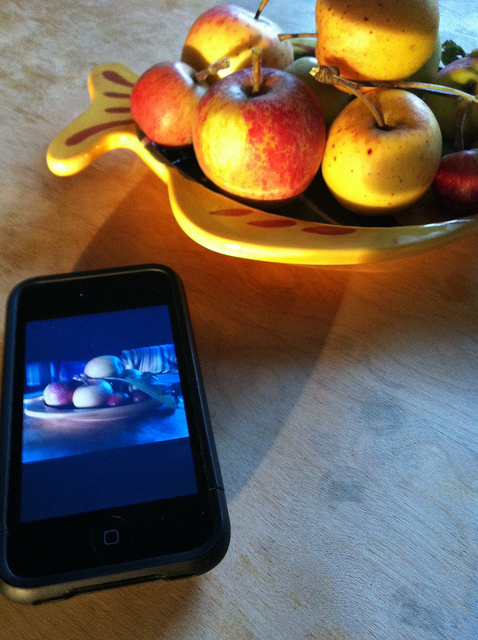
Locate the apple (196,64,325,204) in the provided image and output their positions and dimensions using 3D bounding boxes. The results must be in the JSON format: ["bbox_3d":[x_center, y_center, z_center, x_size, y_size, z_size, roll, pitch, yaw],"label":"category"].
[{"bbox_3d":[0.002,-0.129,0.440,0.091,0.097,0.088,27,37,28],"label":"apple"}]

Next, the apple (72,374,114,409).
[{"bbox_3d":[-0.073,0.040,0.330,0.017,0.021,0.015,-10,52,26],"label":"apple"}]

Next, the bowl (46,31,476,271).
[{"bbox_3d":[0.021,-0.088,0.424,0.265,0.053,0.189,4,53,1],"label":"bowl"}]

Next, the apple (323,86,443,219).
[{"bbox_3d":[0.086,-0.112,0.435,0.087,0.082,0.078,7,58,5],"label":"apple"}]
